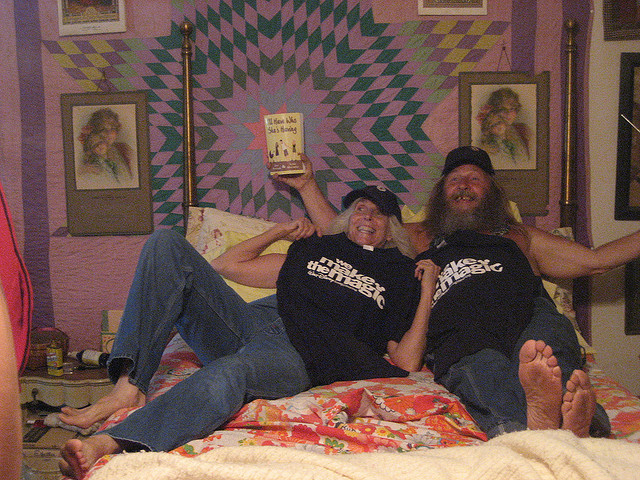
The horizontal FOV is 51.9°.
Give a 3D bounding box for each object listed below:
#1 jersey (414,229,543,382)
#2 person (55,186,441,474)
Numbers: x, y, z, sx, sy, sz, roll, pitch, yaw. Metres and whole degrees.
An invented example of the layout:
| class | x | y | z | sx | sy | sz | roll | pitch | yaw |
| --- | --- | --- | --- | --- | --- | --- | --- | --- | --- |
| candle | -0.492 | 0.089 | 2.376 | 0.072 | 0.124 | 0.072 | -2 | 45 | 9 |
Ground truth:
| class | x | y | z | sx | sy | sz | roll | pitch | yaw |
| --- | --- | --- | --- | --- | --- | --- | --- | --- | --- |
| jersey | 0.802 | 0.230 | 3.439 | 0.771 | 0.265 | 0.721 | -17 | 32 | 9 |
| person | -0.080 | 0.276 | 3.198 | 2.158 | 0.753 | 1.116 | -9 | 29 | -41 |
